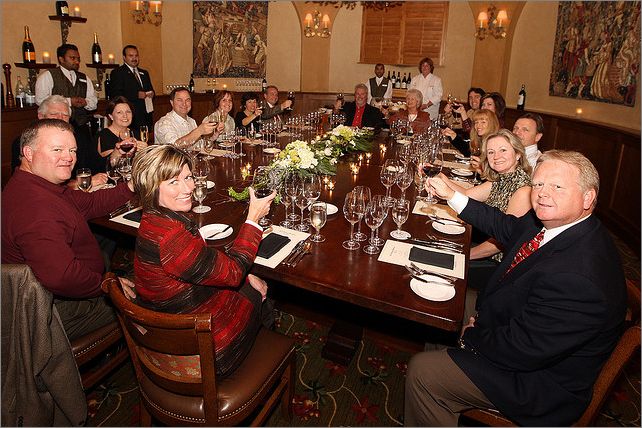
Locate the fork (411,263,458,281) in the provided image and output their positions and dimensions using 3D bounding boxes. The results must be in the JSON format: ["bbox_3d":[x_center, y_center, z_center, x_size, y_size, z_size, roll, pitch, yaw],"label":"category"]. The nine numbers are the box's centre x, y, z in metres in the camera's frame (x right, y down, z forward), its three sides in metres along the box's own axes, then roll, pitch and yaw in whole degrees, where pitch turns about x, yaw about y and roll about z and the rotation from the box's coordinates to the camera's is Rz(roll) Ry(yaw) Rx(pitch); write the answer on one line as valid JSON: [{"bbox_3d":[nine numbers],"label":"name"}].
[{"bbox_3d":[0.667,0.347,2.466,0.178,0.029,0.041,15,47,14],"label":"fork"}]

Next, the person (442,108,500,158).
[{"bbox_3d":[1.805,-0.880,4.582,0.526,0.233,0.747,18,39,41],"label":"person"}]

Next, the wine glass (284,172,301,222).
[{"bbox_3d":[-0.196,-0.129,2.984,0.109,0.340,0.386,3,15,-3],"label":"wine glass"}]

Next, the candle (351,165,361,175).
[{"bbox_3d":[0.331,-0.415,4.013,0.051,0.044,0.174,3,22,5],"label":"candle"}]

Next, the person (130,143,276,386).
[{"bbox_3d":[-0.594,0.276,2.300,0.787,1.235,0.586,-4,16,-27],"label":"person"}]

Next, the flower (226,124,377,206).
[{"bbox_3d":[0.013,-0.536,4.020,0.540,0.487,2.018,14,27,22],"label":"flower"}]

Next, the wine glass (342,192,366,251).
[{"bbox_3d":[0.220,0.061,2.737,0.170,0.468,0.194,0,23,1],"label":"wine glass"}]

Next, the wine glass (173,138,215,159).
[{"bbox_3d":[-1.111,-0.579,3.684,0.359,0.093,0.244,22,37,21],"label":"wine glass"}]

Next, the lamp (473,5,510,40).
[{"bbox_3d":[3.158,-3.558,7.692,0.574,0.653,1.156,10,16,21],"label":"lamp"}]

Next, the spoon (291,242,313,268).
[{"bbox_3d":[-0.114,0.245,2.581,0.052,0.040,0.239,14,35,7],"label":"spoon"}]

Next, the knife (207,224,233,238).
[{"bbox_3d":[-0.649,0.117,2.706,0.092,0.017,0.075,-20,40,-28],"label":"knife"}]

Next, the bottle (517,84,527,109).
[{"bbox_3d":[3.667,-2.131,7.594,0.144,0.462,0.467,10,16,23],"label":"bottle"}]

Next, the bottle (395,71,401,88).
[{"bbox_3d":[1.746,-3.015,9.421,0.109,0.360,0.188,3,14,0],"label":"bottle"}]

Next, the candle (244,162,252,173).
[{"bbox_3d":[-0.644,-0.423,3.693,0.082,0.092,0.101,3,-10,-11],"label":"candle"}]

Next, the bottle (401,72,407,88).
[{"bbox_3d":[1.876,-2.983,9.368,0.138,0.333,0.145,3,14,-1],"label":"bottle"}]

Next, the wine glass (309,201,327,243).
[{"bbox_3d":[-0.015,0.044,2.726,0.100,0.260,0.303,3,15,0],"label":"wine glass"}]

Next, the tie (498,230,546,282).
[{"bbox_3d":[1.218,0.242,2.482,0.558,0.044,0.112,-38,29,-28],"label":"tie"}]

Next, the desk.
[{"bbox_3d":[0.433,0.145,3.134,1.663,0.989,1.850,14,34,19],"label":"desk"}]

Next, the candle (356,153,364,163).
[{"bbox_3d":[0.434,-0.604,4.553,0.106,0.122,0.121,3,19,4],"label":"candle"}]

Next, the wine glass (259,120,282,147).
[{"bbox_3d":[-0.609,-0.971,5.130,0.170,0.111,0.449,5,28,1],"label":"wine glass"}]

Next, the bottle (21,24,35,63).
[{"bbox_3d":[-3.747,-2.173,5.347,0.139,0.475,0.486,-6,18,-33],"label":"bottle"}]

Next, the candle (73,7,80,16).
[{"bbox_3d":[-3.364,-2.783,5.773,0.080,0.119,0.175,-5,18,-29],"label":"candle"}]
